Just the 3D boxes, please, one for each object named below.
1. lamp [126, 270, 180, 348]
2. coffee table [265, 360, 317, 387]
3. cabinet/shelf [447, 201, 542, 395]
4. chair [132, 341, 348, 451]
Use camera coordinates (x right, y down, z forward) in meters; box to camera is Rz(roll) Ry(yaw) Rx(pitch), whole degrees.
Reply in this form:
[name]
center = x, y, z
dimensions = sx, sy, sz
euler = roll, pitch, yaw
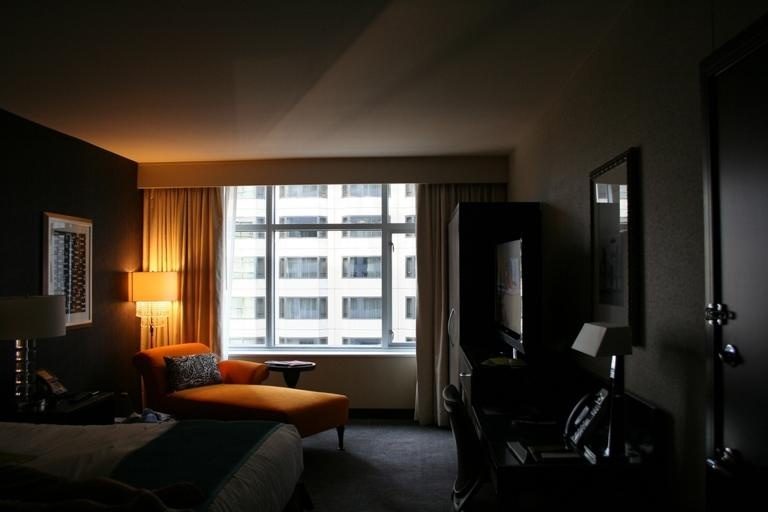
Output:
[lamp]
center = -2.591, 0.598, 6.702
dimensions = 0.529, 0.840, 0.500
euler = 1, -2, -19
[coffee table]
center = -1.024, 1.202, 6.482
dimensions = 0.357, 0.268, 0.364
euler = 0, -6, -1
[cabinet/shelf]
center = 0.998, 0.348, 5.235
dimensions = 0.700, 1.909, 1.774
euler = -1, 1, -1
[chair]
center = -1.416, 1.381, 5.954
dimensions = 1.789, 0.946, 1.055
euler = -4, -7, 29
